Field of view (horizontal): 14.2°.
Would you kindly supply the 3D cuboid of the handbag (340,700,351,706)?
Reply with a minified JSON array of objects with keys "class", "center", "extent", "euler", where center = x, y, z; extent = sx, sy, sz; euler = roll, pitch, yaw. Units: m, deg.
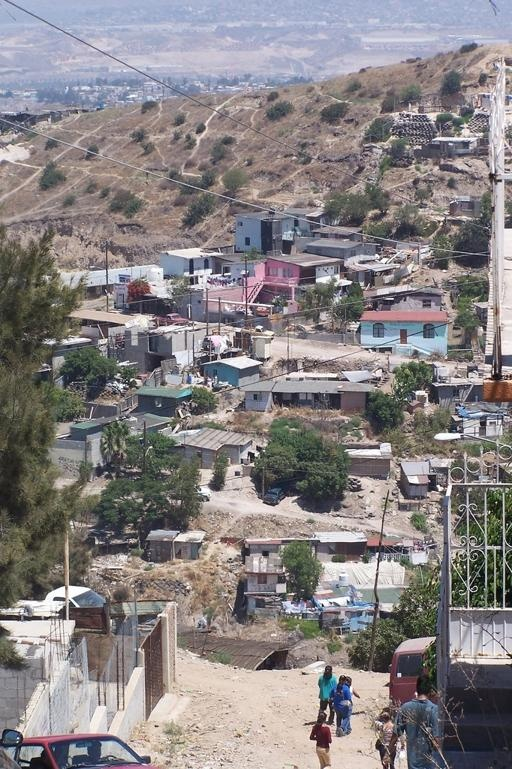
[{"class":"handbag","center":[1.842,6.529,42.294],"extent":[0.124,0.132,0.065],"euler":[-2,1,0]}]
